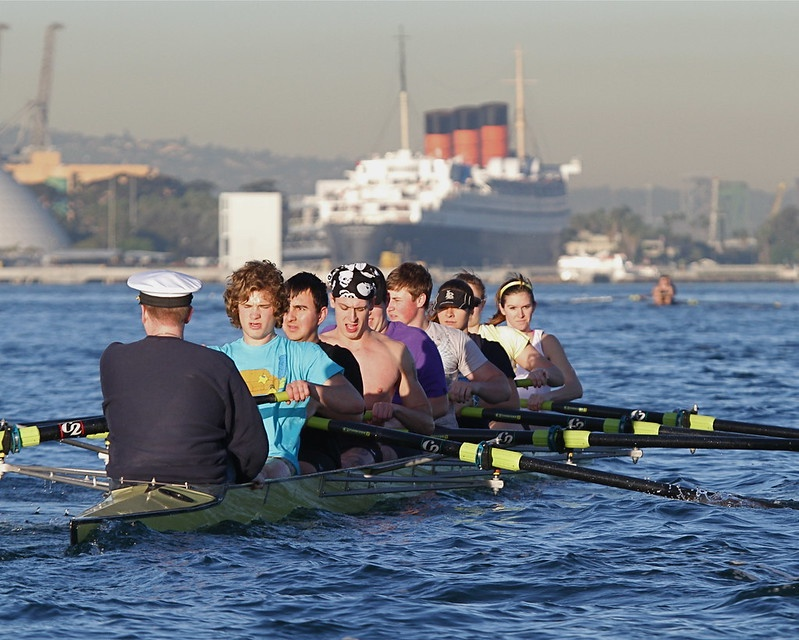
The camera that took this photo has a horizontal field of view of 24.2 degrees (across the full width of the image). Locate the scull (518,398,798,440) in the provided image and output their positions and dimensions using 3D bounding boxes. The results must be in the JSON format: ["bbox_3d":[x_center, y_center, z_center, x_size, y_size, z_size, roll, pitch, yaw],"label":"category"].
[{"bbox_3d":[2.907,1.057,19.793,1.621,0.410,1.440,2,4,3],"label":"scull"}]

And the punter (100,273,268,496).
[{"bbox_3d":[-1.976,0.495,17.023,1.182,2.129,1.386,-2,8,-16],"label":"punter"}]
